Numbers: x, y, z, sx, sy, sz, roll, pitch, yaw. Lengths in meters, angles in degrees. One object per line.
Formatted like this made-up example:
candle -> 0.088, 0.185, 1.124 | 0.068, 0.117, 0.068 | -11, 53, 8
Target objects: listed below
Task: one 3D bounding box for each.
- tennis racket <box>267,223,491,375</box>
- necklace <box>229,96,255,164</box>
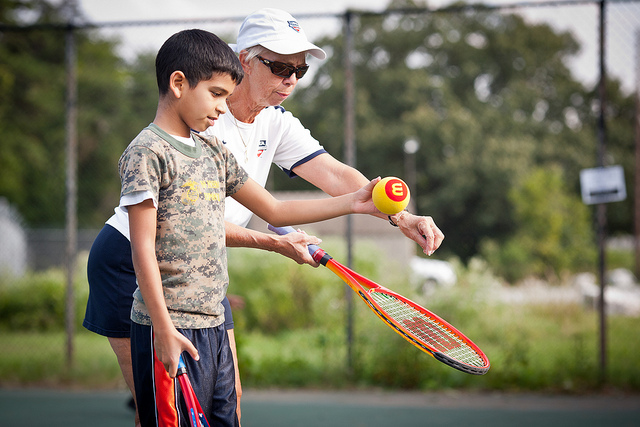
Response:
tennis racket -> 0.554, 0.920, 9.038 | 2.345, 0.629, 0.173 | 34, 52, 28
necklace -> -0.625, -0.650, 7.045 | 0.195, 0.475, 0.045 | 3, -5, -38
